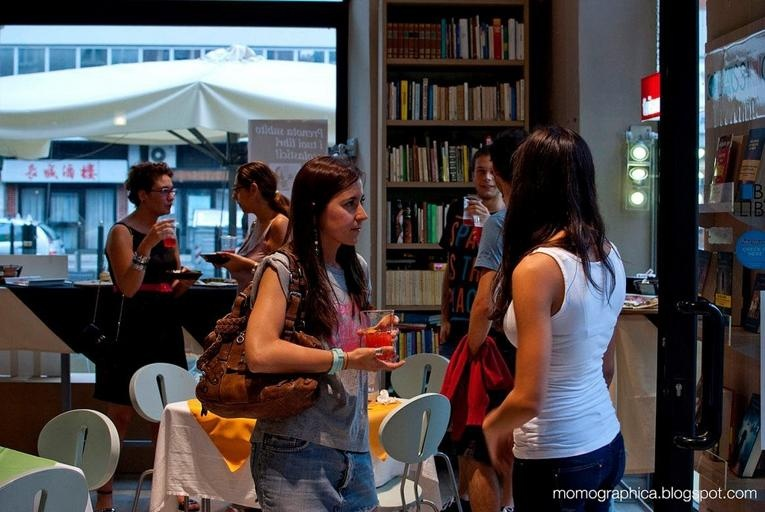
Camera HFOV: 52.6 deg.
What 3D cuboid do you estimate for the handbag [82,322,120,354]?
[{"bbox_3d":[-1.917,0.553,5.273,0.126,0.131,0.226,39,-16,-25],"label":"handbag"}]

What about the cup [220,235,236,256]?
[{"bbox_3d":[-1.170,-0.083,5.813,0.103,0.176,0.136,-2,9,-20],"label":"cup"}]

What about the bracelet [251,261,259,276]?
[{"bbox_3d":[-0.726,0.065,4.362,0.036,0.094,0.030,14,4,6],"label":"bracelet"}]

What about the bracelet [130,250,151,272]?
[{"bbox_3d":[-1.576,0.031,5.026,0.094,0.096,0.122,13,-2,-38],"label":"bracelet"}]

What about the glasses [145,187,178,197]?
[{"bbox_3d":[-1.500,-0.433,5.194,0.131,0.044,0.133,-3,-2,30],"label":"glasses"}]

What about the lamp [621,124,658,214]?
[{"bbox_3d":[1.854,-0.630,5.600,0.185,0.610,0.051,3,-14,13],"label":"lamp"}]

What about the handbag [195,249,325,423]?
[{"bbox_3d":[-0.542,0.357,3.308,0.554,0.671,0.160,0,-1,14],"label":"handbag"}]

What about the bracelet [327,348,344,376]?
[{"bbox_3d":[-0.188,0.441,3.256,0.089,0.098,0.076,0,5,-18],"label":"bracelet"}]

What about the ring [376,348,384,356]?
[{"bbox_3d":[-0.010,0.406,3.294,0.024,0.026,0.025,2,-3,0],"label":"ring"}]
